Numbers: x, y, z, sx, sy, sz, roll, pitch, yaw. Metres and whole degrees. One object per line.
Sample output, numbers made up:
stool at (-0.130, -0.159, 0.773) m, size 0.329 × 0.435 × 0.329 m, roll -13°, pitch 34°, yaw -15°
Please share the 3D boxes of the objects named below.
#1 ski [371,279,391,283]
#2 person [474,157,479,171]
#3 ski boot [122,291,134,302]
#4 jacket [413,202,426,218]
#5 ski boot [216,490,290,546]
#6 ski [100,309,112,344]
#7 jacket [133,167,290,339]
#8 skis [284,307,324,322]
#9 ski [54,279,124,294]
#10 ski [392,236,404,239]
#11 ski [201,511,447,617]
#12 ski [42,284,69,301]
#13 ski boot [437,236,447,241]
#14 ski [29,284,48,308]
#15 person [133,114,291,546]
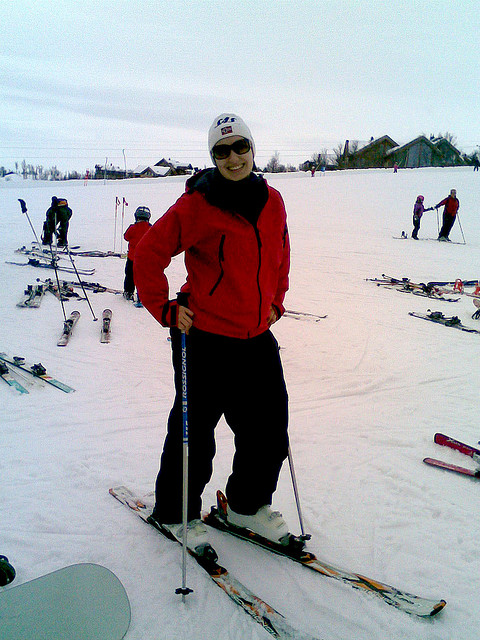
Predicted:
ski at (3.300, -0.881, 11.252) m, size 0.452 × 0.054 × 0.261 m, roll 5°, pitch 7°, yaw 20°
person at (16.872, -10.851, 34.138) m, size 0.285 × 1.076 × 2.127 m, roll 4°, pitch 6°, yaw 25°
ski boot at (-2.117, -0.414, 9.068) m, size 0.127 × 0.202 × 0.067 m, roll 2°, pitch 5°, yaw 12°
jacket at (6.116, -3.693, 16.402) m, size 0.349 × 0.495 × 0.445 m, roll 6°, pitch 6°, yaw 31°
ski boot at (0.051, 0.966, 2.383) m, size 0.358 × 0.184 × 0.118 m, roll 3°, pitch 6°, yaw 24°
ski at (-2.016, 0.127, 7.158) m, size 0.095 × 0.105 × 0.697 m, roll -3°, pitch 32°, yaw -4°
jacket at (-0.026, -0.271, 2.056) m, size 0.763 × 0.713 × 0.324 m, roll -6°, pitch 16°, yaw -38°
skis at (1.136, -0.102, 8.729) m, size 0.762 × 0.023 × 0.248 m, roll 15°, pitch 28°, yaw 34°
ski at (-3.063, -0.629, 9.555) m, size 1.199 × 0.148 × 0.154 m, roll 13°, pitch 25°, yaw -26°
ski at (5.749, -2.925, 17.421) m, size 0.070 × 0.065 × 0.522 m, roll -20°, pitch 20°, yaw -19°
ski at (0.317, 1.112, 2.288) m, size 1.216 × 0.106 × 0.164 m, roll 8°, pitch -3°, yaw 29°
ski at (-3.361, -0.460, 8.663) m, size 0.560 × 0.097 × 0.075 m, roll 42°, pitch 20°, yaw 33°
ski boot at (7.069, -2.764, 16.674) m, size 0.271 × 0.142 × 0.274 m, roll 3°, pitch 6°, yaw 3°
ski at (-3.492, -0.359, 8.276) m, size 0.140 × 0.070 × 0.909 m, roll -1°, pitch 23°, yaw -7°
person at (-0.088, 0.102, 2.097) m, size 0.750 × 1.925 × 0.395 m, roll 1°, pitch 5°, yaw -16°
